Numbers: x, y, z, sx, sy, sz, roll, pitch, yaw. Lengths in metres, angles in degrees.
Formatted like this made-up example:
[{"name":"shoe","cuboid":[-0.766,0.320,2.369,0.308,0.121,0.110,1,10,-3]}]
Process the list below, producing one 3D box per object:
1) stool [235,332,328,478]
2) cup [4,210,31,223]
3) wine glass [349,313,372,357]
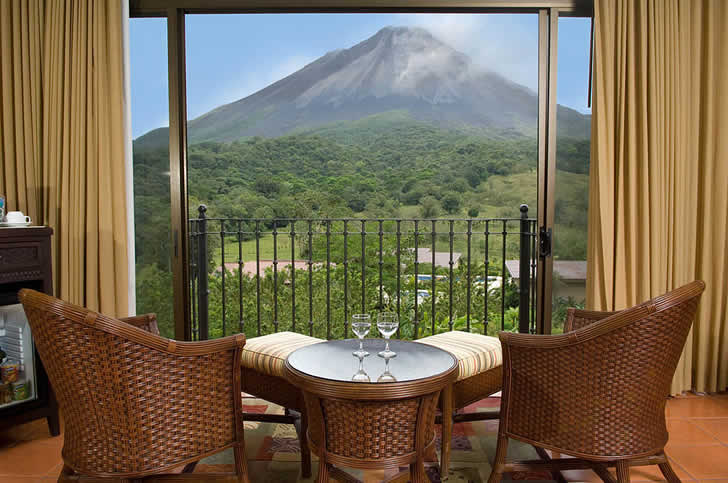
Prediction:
[{"name":"stool","cuboid":[-0.469,0.943,3.514,0.710,0.592,0.516,10,17,39]},{"name":"cup","cuboid":[-2.251,-0.150,3.995,0.151,0.096,0.110,3,-2,-42]},{"name":"wine glass","cuboid":[-0.014,0.513,3.390,0.143,0.217,0.141,0,0,-27]}]
